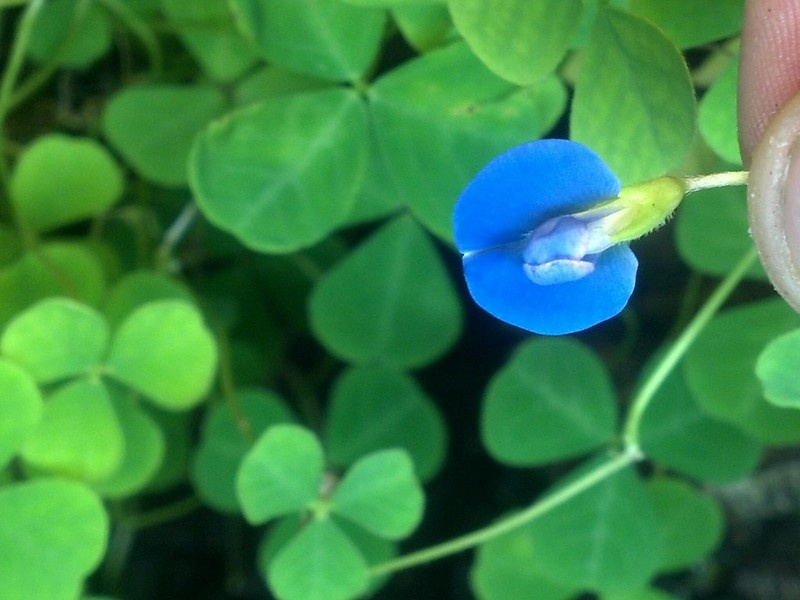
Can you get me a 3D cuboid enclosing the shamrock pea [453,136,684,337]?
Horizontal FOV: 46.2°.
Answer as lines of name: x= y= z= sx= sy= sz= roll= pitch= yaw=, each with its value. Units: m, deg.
shamrock pea: x=0.183 y=-0.062 z=0.944 sx=0.066 sy=0.192 sz=0.235 roll=-47 pitch=-4 yaw=-41
